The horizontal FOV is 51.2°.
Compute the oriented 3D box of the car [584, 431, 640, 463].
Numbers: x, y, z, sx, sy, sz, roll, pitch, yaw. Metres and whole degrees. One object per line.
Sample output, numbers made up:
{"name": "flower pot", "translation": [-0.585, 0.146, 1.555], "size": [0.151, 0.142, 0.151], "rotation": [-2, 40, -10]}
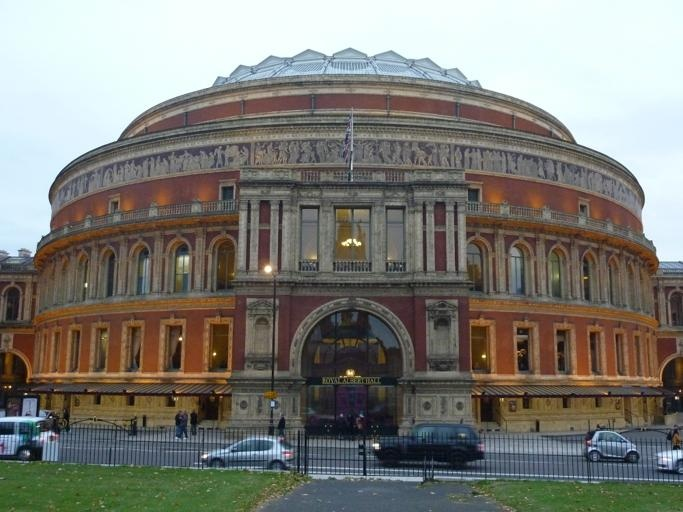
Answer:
{"name": "car", "translation": [15.252, 10.826, 40.467], "size": [3.249, 1.749, 1.252], "rotation": [2, -16, -11]}

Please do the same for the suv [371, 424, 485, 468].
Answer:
{"name": "suv", "translation": [4.580, 10.022, 37.805], "size": [5.128, 1.933, 2.459], "rotation": [2, -15, 3]}
